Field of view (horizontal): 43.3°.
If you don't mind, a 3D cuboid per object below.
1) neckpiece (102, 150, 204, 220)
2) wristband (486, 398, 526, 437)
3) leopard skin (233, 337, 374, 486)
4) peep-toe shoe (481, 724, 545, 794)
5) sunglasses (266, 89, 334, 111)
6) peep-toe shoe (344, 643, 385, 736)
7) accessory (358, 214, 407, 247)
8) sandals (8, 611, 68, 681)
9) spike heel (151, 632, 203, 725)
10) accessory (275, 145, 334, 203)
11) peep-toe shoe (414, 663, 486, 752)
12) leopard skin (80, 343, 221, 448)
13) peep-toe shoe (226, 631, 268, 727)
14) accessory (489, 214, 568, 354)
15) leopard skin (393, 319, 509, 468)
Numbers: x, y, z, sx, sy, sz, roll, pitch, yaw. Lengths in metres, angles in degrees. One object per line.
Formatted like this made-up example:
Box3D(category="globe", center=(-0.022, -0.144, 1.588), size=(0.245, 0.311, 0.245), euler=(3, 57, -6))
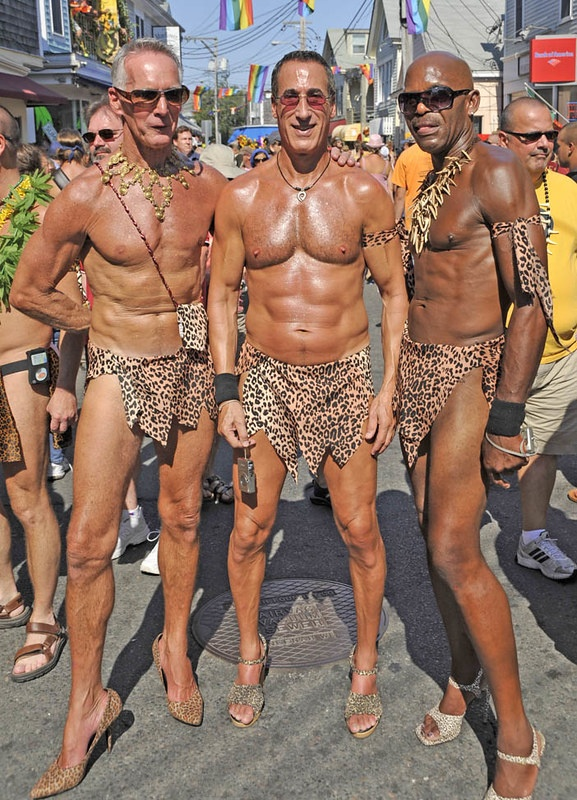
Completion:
Box3D(category="neckpiece", center=(-0.470, -0.724, 2.468), size=(0.335, 0.261, 0.026), euler=(-12, -11, -47))
Box3D(category="wristband", center=(0.620, 0.050, 2.138), size=(0.110, 0.105, 0.114), euler=(-2, 7, -41))
Box3D(category="leopard skin", center=(0.060, 0.038, 2.620), size=(0.570, 0.486, 0.260), euler=(2, 37, 3))
Box3D(category="peep-toe shoe", center=(0.700, 1.062, 2.186), size=(0.104, 0.271, 0.106), euler=(21, -3, -18))
Box3D(category="sunglasses", center=(0.051, -1.023, 2.487), size=(0.172, 0.075, 0.085), euler=(-2, 13, -1))
Box3D(category="peep-toe shoe", center=(0.286, 1.062, 2.699), size=(0.136, 0.095, 0.451), euler=(-2, 16, 7))
Box3D(category="accessory", center=(0.334, -0.597, 2.634), size=(0.158, 0.089, 0.114), euler=(-11, 17, 25))
Box3D(category="sandals", center=(-1.027, 1.028, 3.012), size=(0.116, 0.111, 0.272), euler=(-1, 11, 6))
Box3D(category="spike heel", center=(-0.425, 1.064, 2.738), size=(0.119, 0.047, 0.326), euler=(2, 37, -34))
Box3D(category="accessory", center=(0.058, -0.787, 2.546), size=(0.248, 0.270, 0.026), euler=(4, -5, 4))
Box3D(category="peep-toe shoe", center=(0.582, 1.037, 2.545), size=(0.128, 0.146, 0.424), euler=(19, 20, 39))
Box3D(category="leopard skin", center=(-0.495, -0.048, 2.566), size=(0.488, 0.341, 0.152), euler=(-11, -11, -40))
Box3D(category="peep-toe shoe", center=(-0.149, 1.038, 2.766), size=(0.128, 0.098, 0.388), euler=(6, 30, 2))
Box3D(category="accessory", center=(0.665, -0.359, 2.066), size=(0.179, 0.321, 0.157), euler=(2, 14, 15))
Box3D(category="leopard skin", center=(0.484, -0.013, 2.375), size=(0.297, 0.307, 0.199), euler=(10, 2, 38))
